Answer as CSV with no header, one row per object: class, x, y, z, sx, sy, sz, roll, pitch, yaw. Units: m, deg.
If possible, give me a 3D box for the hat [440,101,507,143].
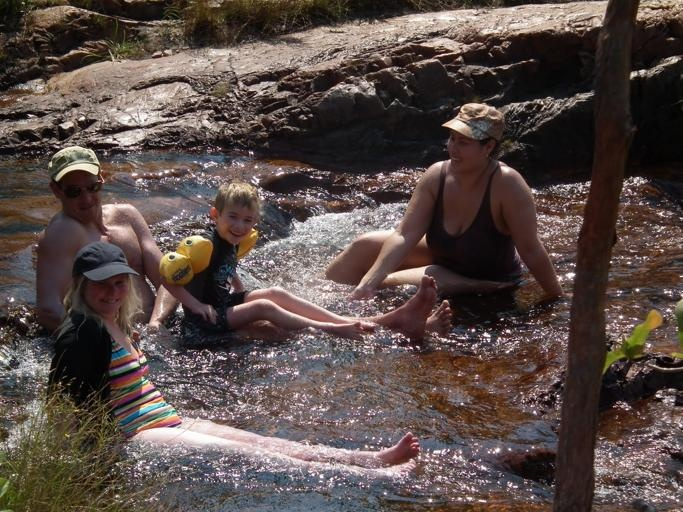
hat,1.097,-1.037,5.733,0.449,0.181,0.307,14,13,-20
